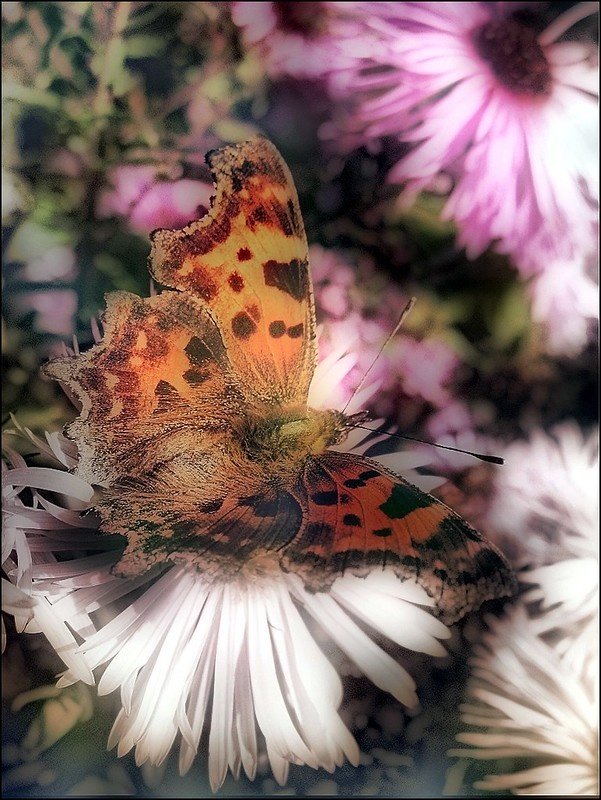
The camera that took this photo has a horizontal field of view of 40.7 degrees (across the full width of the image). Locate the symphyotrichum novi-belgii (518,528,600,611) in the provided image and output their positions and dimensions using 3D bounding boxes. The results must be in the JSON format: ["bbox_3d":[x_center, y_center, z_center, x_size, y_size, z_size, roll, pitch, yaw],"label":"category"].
[{"bbox_3d":[0.598,0.396,1.808,0.218,0.078,0.165,-25,74,-13],"label":"symphyotrichum novi-belgii"}]
